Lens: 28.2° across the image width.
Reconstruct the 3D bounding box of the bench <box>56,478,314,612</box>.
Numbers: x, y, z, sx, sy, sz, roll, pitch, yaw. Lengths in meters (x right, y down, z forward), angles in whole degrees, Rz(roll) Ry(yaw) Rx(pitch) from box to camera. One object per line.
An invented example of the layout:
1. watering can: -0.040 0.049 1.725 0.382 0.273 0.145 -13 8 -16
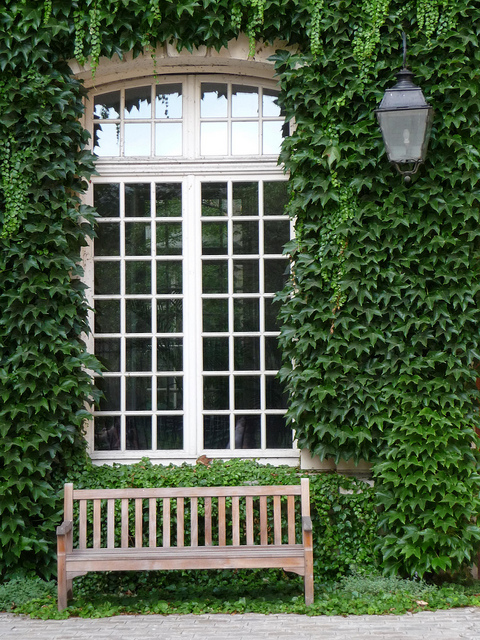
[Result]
1. bench: -0.339 1.343 6.074 1.584 0.735 0.754 -1 3 3
